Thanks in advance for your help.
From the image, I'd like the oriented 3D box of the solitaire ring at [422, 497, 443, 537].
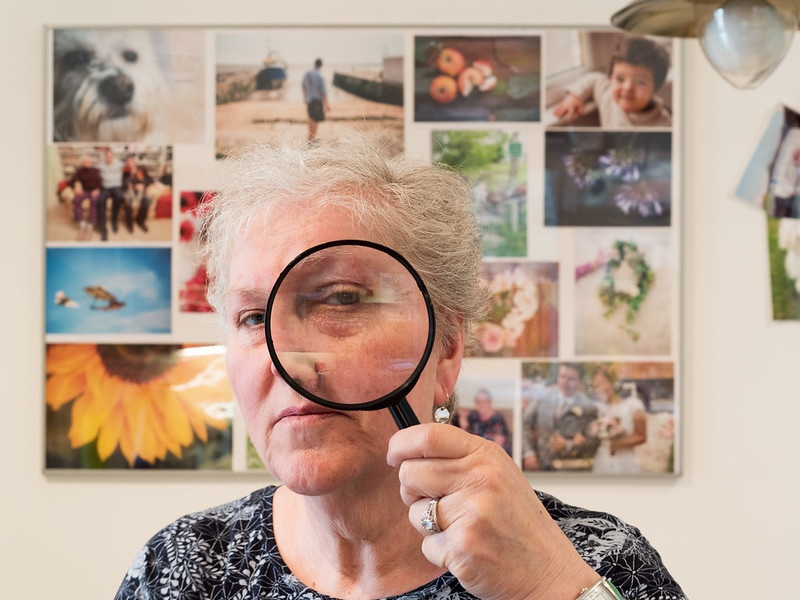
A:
[{"bbox_3d":[0.087,0.603,2.678,0.062,0.079,0.032,21,21,33],"label":"solitaire ring"}]
